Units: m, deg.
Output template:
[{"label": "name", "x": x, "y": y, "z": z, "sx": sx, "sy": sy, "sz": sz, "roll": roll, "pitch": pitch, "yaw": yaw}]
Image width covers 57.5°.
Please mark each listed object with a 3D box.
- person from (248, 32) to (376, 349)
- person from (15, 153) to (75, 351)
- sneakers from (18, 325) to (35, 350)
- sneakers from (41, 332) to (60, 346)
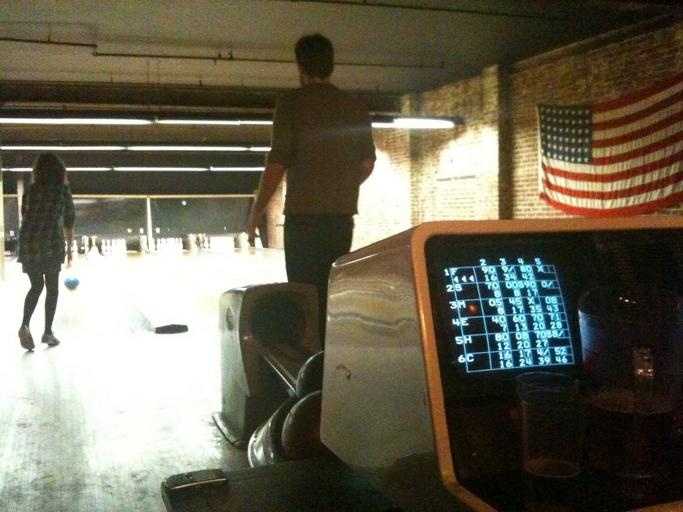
[{"label": "person", "x": -0.102, "y": -0.185, "z": 2.497, "sx": 0.556, "sy": 1.042, "sz": 0.427, "roll": -2, "pitch": 3, "yaw": -9}, {"label": "person", "x": -2.234, "y": -0.036, "z": 4.678, "sx": 0.432, "sy": 1.476, "sz": 0.590, "roll": -4, "pitch": 4, "yaw": -27}, {"label": "sneakers", "x": -2.341, "y": 0.610, "z": 4.637, "sx": 0.099, "sy": 0.190, "sz": 0.137, "roll": 1, "pitch": 6, "yaw": -11}, {"label": "sneakers", "x": -2.263, "y": 0.650, "z": 4.815, "sx": 0.070, "sy": 0.067, "sz": 0.170, "roll": 6, "pitch": -5, "yaw": -45}]
